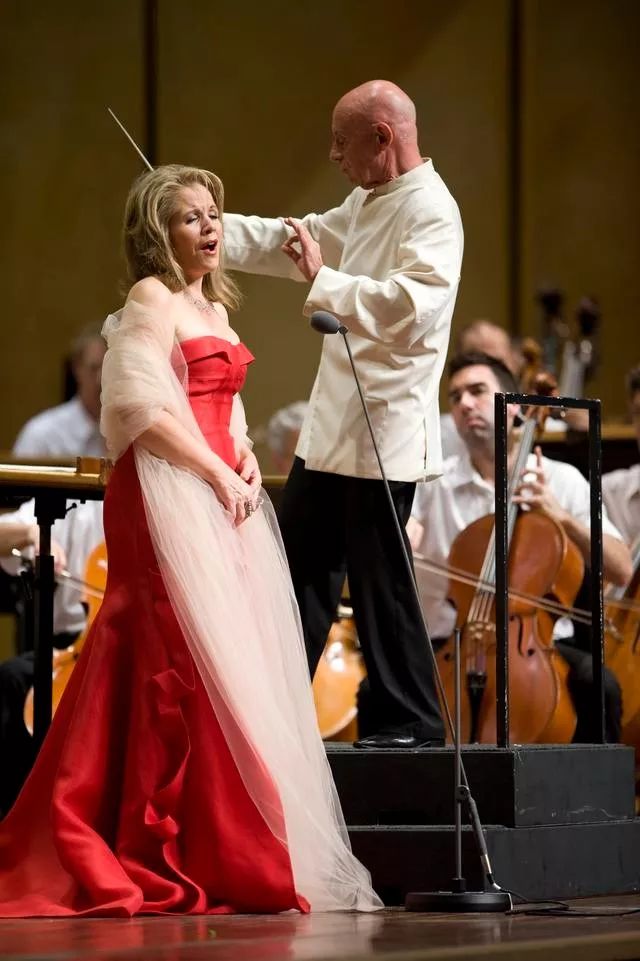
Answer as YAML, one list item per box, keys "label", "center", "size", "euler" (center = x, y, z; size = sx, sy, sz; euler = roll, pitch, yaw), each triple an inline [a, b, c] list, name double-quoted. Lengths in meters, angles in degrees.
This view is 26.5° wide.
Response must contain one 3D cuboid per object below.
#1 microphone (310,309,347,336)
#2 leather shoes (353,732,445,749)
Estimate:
- label: "microphone"
  center: [0.022, -0.314, 2.775]
  size: [0.075, 0.032, 0.039]
  euler: [19, 14, -42]
- label: "leather shoes"
  center: [0.158, 0.561, 2.890]
  size: [0.171, 0.047, 0.063]
  euler: [5, -16, -14]
